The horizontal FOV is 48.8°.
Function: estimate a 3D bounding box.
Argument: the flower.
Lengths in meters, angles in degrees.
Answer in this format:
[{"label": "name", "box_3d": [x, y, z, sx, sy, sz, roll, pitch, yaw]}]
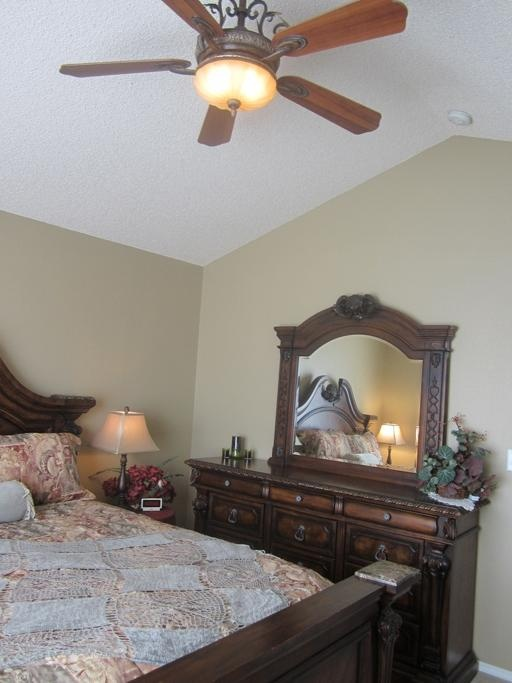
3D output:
[{"label": "flower", "box_3d": [-0.837, 0.889, 3.539, 0.410, 0.235, 0.336, 19, -17, -17]}]

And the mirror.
[{"label": "mirror", "box_3d": [0.652, 0.309, 3.269, 1.276, 1.061, 0.144, 2, -6, 41]}]

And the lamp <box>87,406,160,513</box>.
[{"label": "lamp", "box_3d": [-0.822, 0.718, 3.530, 0.441, 0.594, 0.407, 4, 1, 23]}]

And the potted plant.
[{"label": "potted plant", "box_3d": [0.968, 0.580, 2.794, 0.361, 0.423, 0.433, 0, -7, 37]}]

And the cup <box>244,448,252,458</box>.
[{"label": "cup", "box_3d": [-0.046, 0.767, 3.886, 0.046, 0.075, 0.046, 1, 4, 0]}]

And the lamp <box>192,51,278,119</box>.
[{"label": "lamp", "box_3d": [-0.053, -0.745, 1.643, 0.156, 0.068, 0.149, 13, -19, -27]}]
